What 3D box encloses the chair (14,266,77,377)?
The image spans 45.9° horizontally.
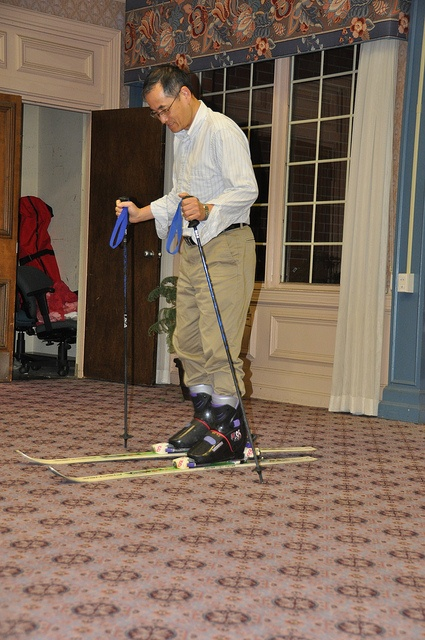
[{"bbox_3d":[-1.814,0.011,5.437,0.628,1.141,0.753,4,-4,-22],"label":"chair"}]

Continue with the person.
[{"bbox_3d":[-0.066,-0.217,2.081,0.484,1.611,0.558,2,-3,4],"label":"person"}]

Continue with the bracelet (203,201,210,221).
[{"bbox_3d":[-0.023,-0.412,1.889,0.016,0.064,0.049,1,-3,14],"label":"bracelet"}]

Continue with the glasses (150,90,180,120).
[{"bbox_3d":[-0.178,-0.869,2.015,0.104,0.031,0.100,-52,21,-19],"label":"glasses"}]
